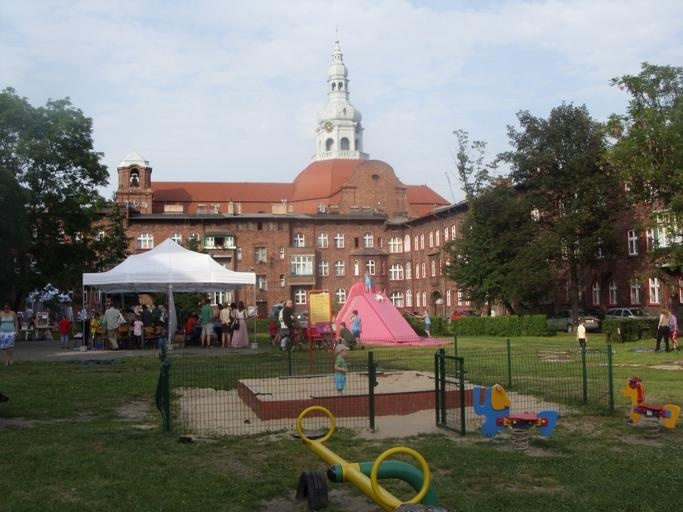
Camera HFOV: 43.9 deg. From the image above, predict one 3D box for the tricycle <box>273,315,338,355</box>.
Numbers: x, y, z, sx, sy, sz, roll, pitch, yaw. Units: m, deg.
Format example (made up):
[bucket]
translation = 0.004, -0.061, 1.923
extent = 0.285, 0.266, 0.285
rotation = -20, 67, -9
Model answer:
[tricycle]
translation = -1.501, 3.327, 35.358
extent = 2.598, 1.624, 0.856
rotation = 0, -2, -20

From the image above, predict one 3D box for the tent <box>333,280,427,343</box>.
[tent]
translation = 1.665, 2.893, 40.196
extent = 3.995, 2.834, 2.499
rotation = 1, -1, -33

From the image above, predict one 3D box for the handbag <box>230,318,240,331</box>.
[handbag]
translation = -4.432, 2.884, 35.335
extent = 0.239, 0.493, 0.478
rotation = 8, -11, -39
